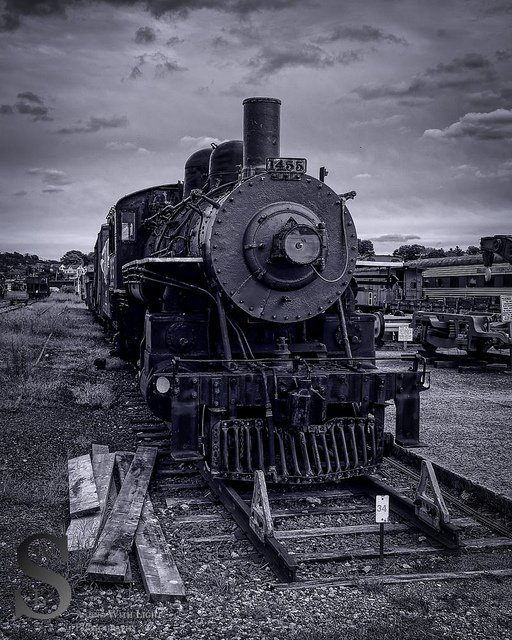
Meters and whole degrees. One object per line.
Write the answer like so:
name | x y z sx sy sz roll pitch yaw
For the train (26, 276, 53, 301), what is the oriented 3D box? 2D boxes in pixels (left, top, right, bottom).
train | -22.725 -3.439 58.588 1.993 2.133 3.662 0 -1 -17

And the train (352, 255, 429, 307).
train | 6.402 -1.524 28.746 2.546 1.076 2.396 -15 -10 41

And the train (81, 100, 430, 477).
train | -0.712 -0.293 8.862 2.336 3.801 8.177 0 3 -13
